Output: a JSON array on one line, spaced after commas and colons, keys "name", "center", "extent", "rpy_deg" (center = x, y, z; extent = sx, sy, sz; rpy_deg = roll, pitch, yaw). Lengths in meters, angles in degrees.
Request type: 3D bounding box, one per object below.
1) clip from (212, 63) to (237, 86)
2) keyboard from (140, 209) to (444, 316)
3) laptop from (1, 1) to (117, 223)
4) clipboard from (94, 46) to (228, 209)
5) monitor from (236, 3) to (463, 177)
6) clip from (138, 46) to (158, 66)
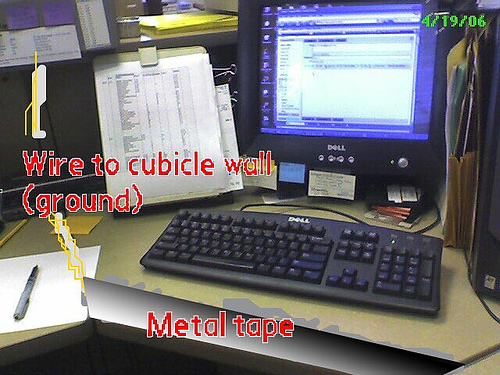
[{"name": "clip", "center": [-0.070, -0.327, 1.163], "extent": [0.080, 0.068, 0.008], "rpy_deg": [-5, -4, -4]}, {"name": "keyboard", "center": [0.083, 0.133, 0.846], "extent": [0.587, 0.097, 0.203], "rpy_deg": [3, 20, 17]}, {"name": "laptop", "center": [-0.507, -0.199, 1.054], "extent": [0.360, 0.507, 0.216], "rpy_deg": [-9, 20, -16]}, {"name": "clipboard", "center": [-0.235, -0.160, 1.045], "extent": [0.350, 0.407, 0.105], "rpy_deg": [-8, 4, -4]}, {"name": "monitor", "center": [0.223, -0.247, 1.007], "extent": [0.527, 0.412, 0.117], "rpy_deg": [4, 21, 19]}, {"name": "clip", "center": [-0.266, -0.334, 1.046], "extent": [0.049, 0.044, 0.011], "rpy_deg": [-5, 9, -6]}]
